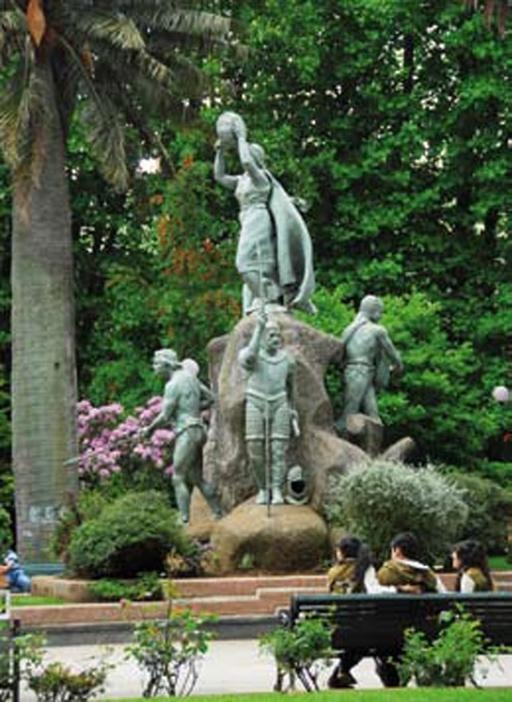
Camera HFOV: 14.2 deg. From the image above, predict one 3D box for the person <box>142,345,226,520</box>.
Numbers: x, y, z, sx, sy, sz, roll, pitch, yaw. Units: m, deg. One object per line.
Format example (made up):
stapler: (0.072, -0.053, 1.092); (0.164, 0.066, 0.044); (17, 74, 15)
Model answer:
person: (-0.934, 1.155, 26.840); (0.918, 2.277, 0.565); (-1, -2, -22)

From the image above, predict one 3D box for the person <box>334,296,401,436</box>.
person: (1.504, 0.180, 28.116); (0.850, 1.803, 0.712); (-1, -1, -8)

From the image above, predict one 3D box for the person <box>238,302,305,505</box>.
person: (0.164, 0.712, 26.056); (0.708, 2.515, 0.485); (-1, -1, -2)
